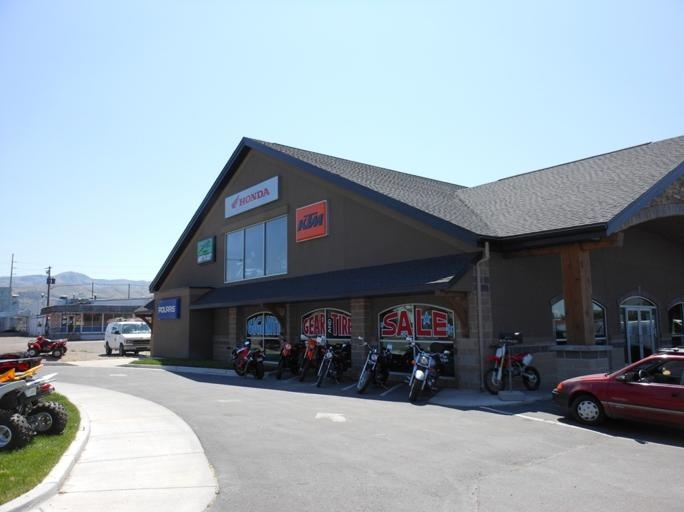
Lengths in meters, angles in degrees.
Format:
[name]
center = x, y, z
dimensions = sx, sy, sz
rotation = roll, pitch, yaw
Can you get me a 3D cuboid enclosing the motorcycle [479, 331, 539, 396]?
[motorcycle]
center = 5.514, 3.462, 14.007
dimensions = 1.129, 1.867, 2.010
rotation = -8, -11, 42
